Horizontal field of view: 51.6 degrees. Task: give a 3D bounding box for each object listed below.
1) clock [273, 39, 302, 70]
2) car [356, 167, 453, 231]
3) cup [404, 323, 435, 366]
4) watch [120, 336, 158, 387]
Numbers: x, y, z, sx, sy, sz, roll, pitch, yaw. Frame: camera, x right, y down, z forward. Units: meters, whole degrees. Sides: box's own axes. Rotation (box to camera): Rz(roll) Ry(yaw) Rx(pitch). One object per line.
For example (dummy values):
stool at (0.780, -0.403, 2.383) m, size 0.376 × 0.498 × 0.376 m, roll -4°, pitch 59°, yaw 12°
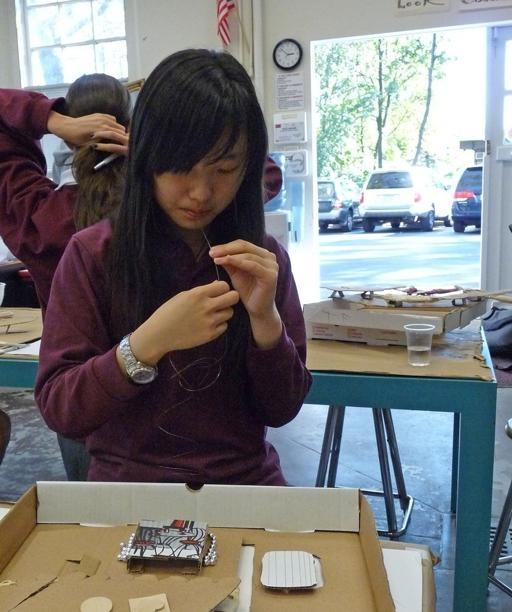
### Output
clock at (0.280, -2.212, 4.619) m, size 0.294 × 0.268 × 0.041 m, roll -3°, pitch 16°, yaw 19°
car at (2.530, -1.863, 9.188) m, size 0.895 × 0.730 × 1.754 m, roll 3°, pitch 14°, yaw 28°
cup at (0.359, 0.083, 1.215) m, size 0.086 × 0.093 × 0.088 m, roll -4°, pitch 10°, yaw 1°
watch at (-0.144, 0.065, 0.645) m, size 0.030 × 0.048 × 0.043 m, roll -26°, pitch 52°, yaw 13°
